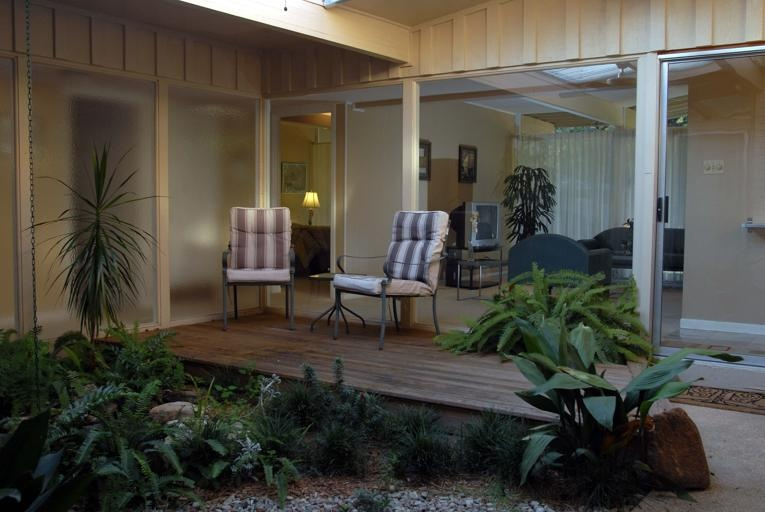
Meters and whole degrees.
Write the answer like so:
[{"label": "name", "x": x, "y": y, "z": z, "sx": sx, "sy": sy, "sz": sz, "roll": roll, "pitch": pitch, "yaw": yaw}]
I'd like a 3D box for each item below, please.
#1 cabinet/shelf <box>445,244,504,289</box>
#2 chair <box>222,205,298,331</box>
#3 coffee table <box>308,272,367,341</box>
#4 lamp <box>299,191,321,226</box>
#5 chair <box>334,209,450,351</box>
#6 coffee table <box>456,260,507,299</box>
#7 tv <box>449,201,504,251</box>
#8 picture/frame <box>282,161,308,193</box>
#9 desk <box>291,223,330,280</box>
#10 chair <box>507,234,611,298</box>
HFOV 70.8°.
[{"label": "cabinet/shelf", "x": 0.941, "y": 0.119, "z": 5.690, "sx": 0.455, "sy": 0.403, "sz": 0.467, "roll": 5, "pitch": 9, "yaw": 38}, {"label": "chair", "x": -1.407, "y": 0.078, "z": 6.156, "sx": 0.916, "sy": 1.364, "sz": 1.014, "roll": 0, "pitch": 0, "yaw": 13}, {"label": "coffee table", "x": -0.535, "y": 0.523, "z": 6.313, "sx": 0.493, "sy": 0.715, "sz": 0.515, "roll": 1, "pitch": -20, "yaw": -4}, {"label": "lamp", "x": -0.904, "y": -0.603, "z": 6.682, "sx": 0.273, "sy": 0.415, "sz": 0.099, "roll": 4, "pitch": 8, "yaw": 44}, {"label": "chair", "x": 0.061, "y": 0.178, "z": 5.726, "sx": 1.167, "sy": 1.294, "sz": 1.081, "roll": 1, "pitch": 6, "yaw": 19}, {"label": "coffee table", "x": 1.002, "y": 0.198, "z": 5.692, "sx": 0.344, "sy": 0.333, "sz": 0.663, "roll": 3, "pitch": 6, "yaw": 35}, {"label": "tv", "x": 0.968, "y": -0.345, "z": 5.872, "sx": 0.390, "sy": 0.528, "sz": 0.535, "roll": -4, "pitch": 7, "yaw": -28}, {"label": "picture/frame", "x": -1.078, "y": -0.993, "z": 6.625, "sx": 0.372, "sy": 0.401, "sz": 0.037, "roll": 3, "pitch": 4, "yaw": 35}, {"label": "desk", "x": -0.894, "y": -0.104, "z": 6.748, "sx": 0.218, "sy": 0.506, "sz": 0.659, "roll": -4, "pitch": 1, "yaw": -26}, {"label": "chair", "x": 1.757, "y": 0.038, "z": 5.579, "sx": 0.831, "sy": 0.535, "sz": 0.442, "roll": 1, "pitch": 12, "yaw": 32}]
